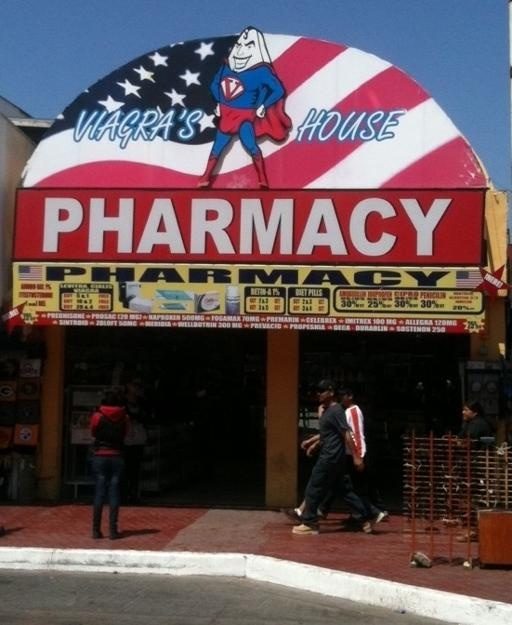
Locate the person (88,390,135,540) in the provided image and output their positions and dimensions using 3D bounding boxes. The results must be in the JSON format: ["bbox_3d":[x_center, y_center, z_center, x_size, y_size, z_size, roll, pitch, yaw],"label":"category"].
[{"bbox_3d":[-1.685,1.750,9.654,0.422,1.674,0.423,3,-10,-10],"label":"person"}]

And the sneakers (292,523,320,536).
[{"bbox_3d":[0.611,2.592,10.045,0.319,0.142,0.130,3,-1,0],"label":"sneakers"}]

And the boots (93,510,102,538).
[{"bbox_3d":[-1.796,2.423,9.565,0.099,0.314,0.187,2,-10,-9],"label":"boots"}]

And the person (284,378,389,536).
[{"bbox_3d":[0.994,1.793,10.418,1.049,1.823,1.030,0,-10,3],"label":"person"}]

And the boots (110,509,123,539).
[{"bbox_3d":[-1.588,2.410,9.579,0.107,0.345,0.197,-5,-12,32],"label":"boots"}]
